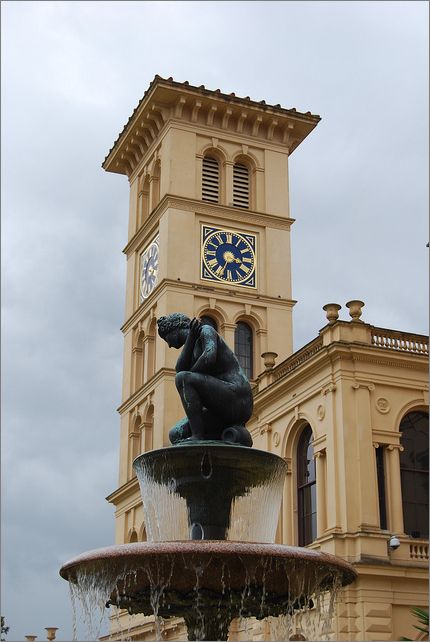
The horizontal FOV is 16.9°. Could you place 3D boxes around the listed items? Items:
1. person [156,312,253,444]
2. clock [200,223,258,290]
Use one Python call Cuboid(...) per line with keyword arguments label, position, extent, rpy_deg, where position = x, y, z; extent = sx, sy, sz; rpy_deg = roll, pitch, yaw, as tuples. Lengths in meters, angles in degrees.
Cuboid(label="person", position=(-0.119, 0.673, 15.835), extent=(0.870, 1.725, 0.782), rpy_deg=(-1, -22, -11))
Cuboid(label="clock", position=(0.371, -2.001, 48.006), extent=(1.832, 2.021, 0.181), rpy_deg=(18, -39, -26))
